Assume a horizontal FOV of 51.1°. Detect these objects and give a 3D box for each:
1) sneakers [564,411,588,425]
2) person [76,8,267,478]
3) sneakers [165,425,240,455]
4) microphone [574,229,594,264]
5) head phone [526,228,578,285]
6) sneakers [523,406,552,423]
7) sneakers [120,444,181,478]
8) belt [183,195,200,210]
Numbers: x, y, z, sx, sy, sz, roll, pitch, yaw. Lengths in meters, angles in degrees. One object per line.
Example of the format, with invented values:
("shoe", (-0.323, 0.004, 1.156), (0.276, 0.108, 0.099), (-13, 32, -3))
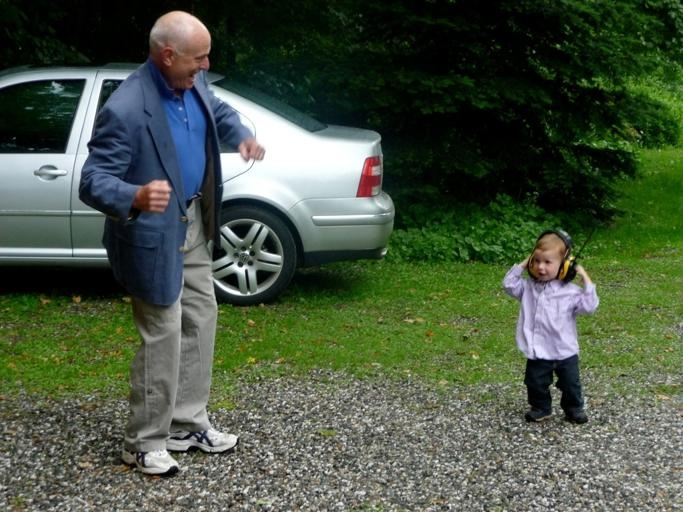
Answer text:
("sneakers", (1.502, 1.039, 4.549), (0.121, 0.078, 0.037), (-3, 1, 18))
("person", (-0.940, -0.066, 4.055), (0.531, 2.533, 1.005), (13, 19, 41))
("sneakers", (-0.833, 1.113, 4.378), (0.451, 0.210, 0.159), (0, 5, -1))
("microphone", (3.006, -0.106, 8.877), (0.081, 0.081, 0.586), (12, 49, 34))
("head phone", (1.356, -0.006, 4.631), (0.159, 0.338, 0.336), (-16, 16, -41))
("sneakers", (1.264, 1.025, 4.619), (0.171, 0.075, 0.076), (0, 33, -5))
("sneakers", (-1.085, 1.157, 4.080), (0.327, 0.156, 0.140), (3, 3, 14))
("belt", (-0.862, -0.313, 4.106), (0.054, 0.029, 0.079), (-6, 17, 44))
